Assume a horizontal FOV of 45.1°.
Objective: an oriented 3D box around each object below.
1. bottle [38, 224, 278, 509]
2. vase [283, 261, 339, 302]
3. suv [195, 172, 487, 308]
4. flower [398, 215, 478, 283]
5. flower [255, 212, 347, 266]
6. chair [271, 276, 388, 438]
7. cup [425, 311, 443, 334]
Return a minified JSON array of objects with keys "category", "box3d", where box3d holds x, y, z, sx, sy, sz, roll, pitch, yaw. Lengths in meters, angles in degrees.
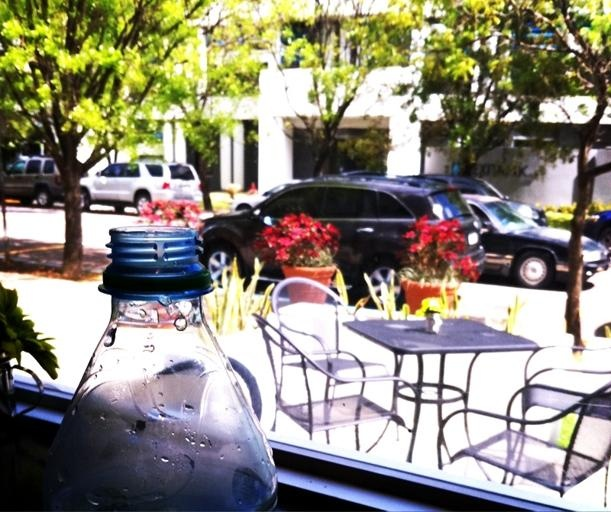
[{"category":"bottle","box3d":[-0.277,0.216,1.409,0.441,0.532,0.204,0,9,-3]},{"category":"vase","box3d":[0.034,0.125,4.029,0.191,0.177,0.204,1,2,29]},{"category":"suv","box3d":[0.119,-0.221,5.085,1.583,0.793,0.841,3,7,12]},{"category":"flower","box3d":[0.791,-0.022,4.276,0.323,0.285,0.369,8,14,18]},{"category":"flower","box3d":[-0.057,-0.126,4.645,0.534,0.451,0.527,-5,-6,37]},{"category":"chair","box3d":[0.113,0.348,3.143,0.505,0.863,0.534,-2,2,-37]},{"category":"cup","box3d":[0.501,0.253,2.845,0.068,0.148,0.072,-1,4,0]}]
